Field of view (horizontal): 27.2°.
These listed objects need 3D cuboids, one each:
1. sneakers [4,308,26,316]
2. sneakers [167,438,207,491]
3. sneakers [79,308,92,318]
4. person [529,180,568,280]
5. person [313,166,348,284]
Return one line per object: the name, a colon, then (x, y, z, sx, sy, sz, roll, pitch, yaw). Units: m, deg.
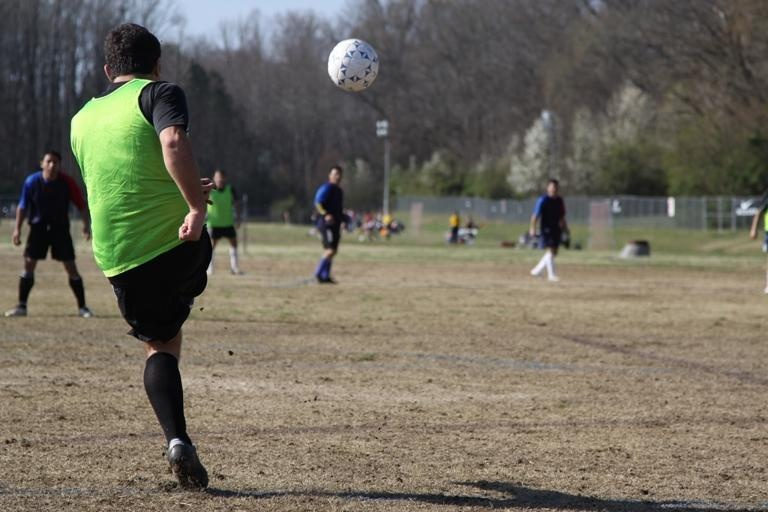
sneakers: (-4.583, 0.697, 19.736, 0.261, 0.116, 0.105, 6, -2, -22)
sneakers: (-1.932, 2.054, 15.765, 0.283, 0.561, 0.278, -27, 10, 14)
sneakers: (-3.724, 0.703, 19.849, 0.074, 0.090, 0.205, 0, -2, -40)
person: (2.046, -0.324, 19.809, 0.632, 1.244, 0.371, -2, 5, -45)
person: (-0.653, -0.354, 18.876, 0.378, 1.411, 0.645, 1, 4, -4)
